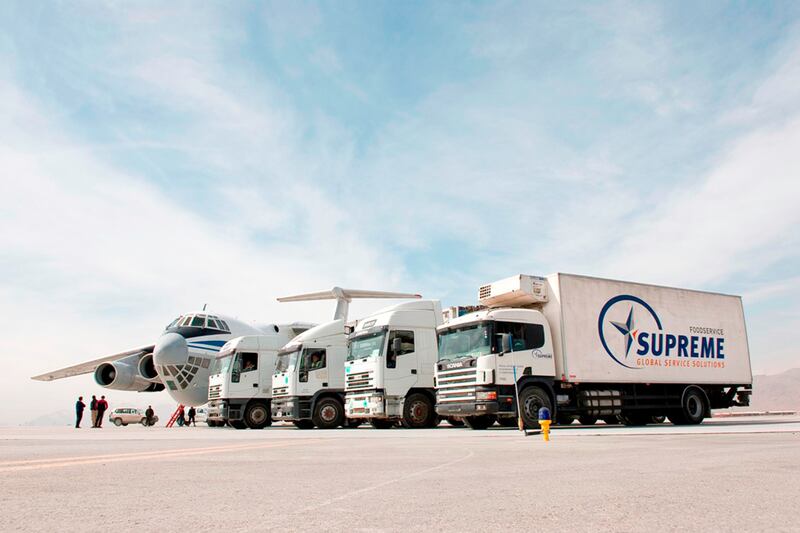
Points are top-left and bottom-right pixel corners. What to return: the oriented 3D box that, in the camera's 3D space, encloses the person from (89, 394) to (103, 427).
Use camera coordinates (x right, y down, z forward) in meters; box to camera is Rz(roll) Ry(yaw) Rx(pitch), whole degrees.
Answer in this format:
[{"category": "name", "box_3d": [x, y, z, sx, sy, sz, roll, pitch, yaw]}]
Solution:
[{"category": "person", "box_3d": [-15.517, 7.379, 29.425, 0.572, 1.517, 1.206, 7, -20, -23]}]
